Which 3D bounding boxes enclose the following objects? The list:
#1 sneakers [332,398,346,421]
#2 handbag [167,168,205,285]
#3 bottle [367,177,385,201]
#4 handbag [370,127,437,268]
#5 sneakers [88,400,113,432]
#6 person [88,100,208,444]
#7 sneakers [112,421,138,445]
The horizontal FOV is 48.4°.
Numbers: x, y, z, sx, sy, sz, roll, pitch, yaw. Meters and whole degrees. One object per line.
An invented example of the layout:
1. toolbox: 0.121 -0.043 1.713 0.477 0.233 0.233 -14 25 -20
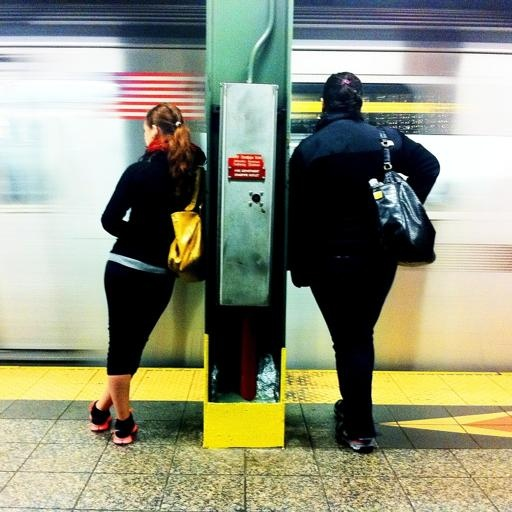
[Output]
1. sneakers: 0.510 0.945 3.489 0.065 0.119 0.108 -7 22 -21
2. handbag: -0.362 -0.156 2.985 0.210 0.574 0.382 -3 18 -4
3. bottle: 0.610 -0.336 2.874 0.085 0.092 0.031 -8 -10 6
4. handbag: 0.708 -0.296 2.927 0.281 0.679 0.380 -11 21 -26
5. sneakers: -0.909 0.942 3.321 0.106 0.077 0.207 1 9 -6
6. person: -0.584 0.125 3.101 0.701 1.835 0.437 -18 25 -40
7. sneakers: -0.743 1.006 3.204 0.074 0.066 0.174 0 -1 -1
